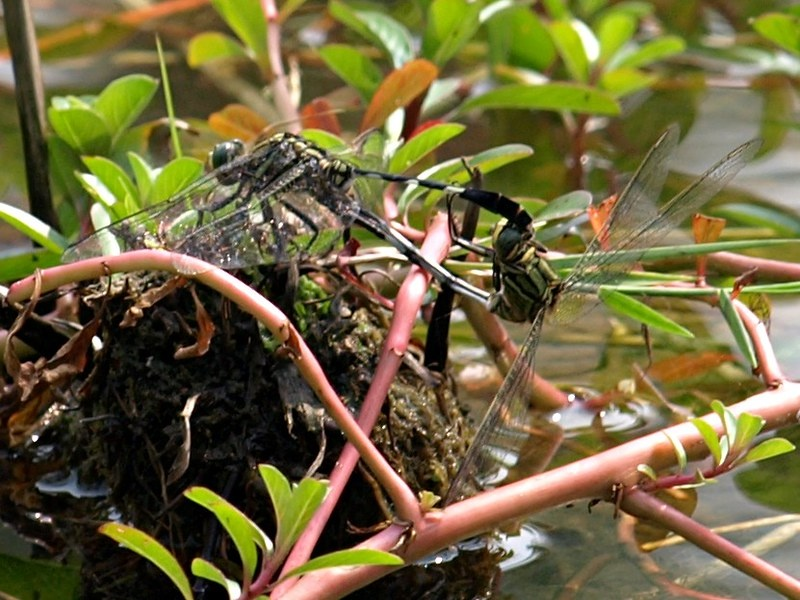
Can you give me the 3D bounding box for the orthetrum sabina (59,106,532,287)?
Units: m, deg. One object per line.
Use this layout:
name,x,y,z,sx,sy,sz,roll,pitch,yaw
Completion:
orthetrum sabina,-0.052,-0.046,0.890,0.421,0.368,0.113,-2,75,15
